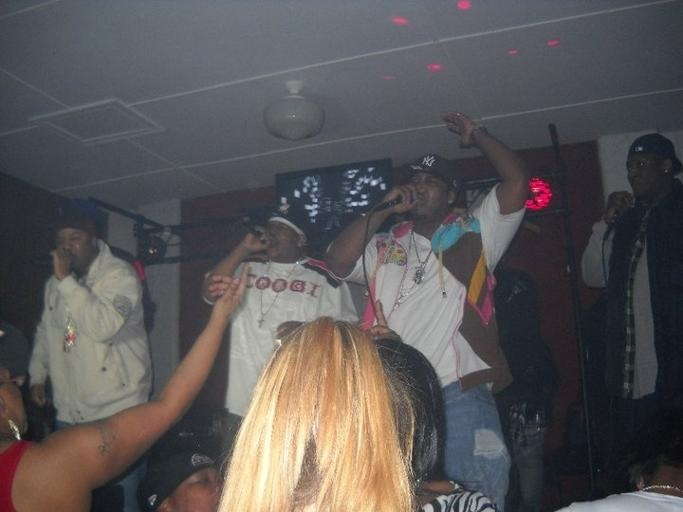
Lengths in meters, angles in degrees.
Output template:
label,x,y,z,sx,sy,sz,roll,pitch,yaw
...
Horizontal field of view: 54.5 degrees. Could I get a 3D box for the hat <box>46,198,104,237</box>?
label,x,y,z,sx,sy,sz,roll,pitch,yaw
hat,-1.871,-0.282,4.743,0.285,0.281,0.270,0,-14,31

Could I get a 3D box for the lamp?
label,x,y,z,sx,sy,sz,roll,pitch,yaw
lamp,-0.279,-0.840,3.909,0.309,0.272,0.317,1,-36,-5

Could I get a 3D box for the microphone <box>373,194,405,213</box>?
label,x,y,z,sx,sy,sz,roll,pitch,yaw
microphone,0.276,-0.311,3.913,0.226,0.068,0.040,-16,8,31

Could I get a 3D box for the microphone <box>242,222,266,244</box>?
label,x,y,z,sx,sy,sz,roll,pitch,yaw
microphone,-0.555,-0.160,4.339,0.130,0.061,0.317,9,26,-19

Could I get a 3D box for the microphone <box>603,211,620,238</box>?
label,x,y,z,sx,sy,sz,roll,pitch,yaw
microphone,1.578,-0.218,3.892,0.080,0.203,0.061,15,-9,18
